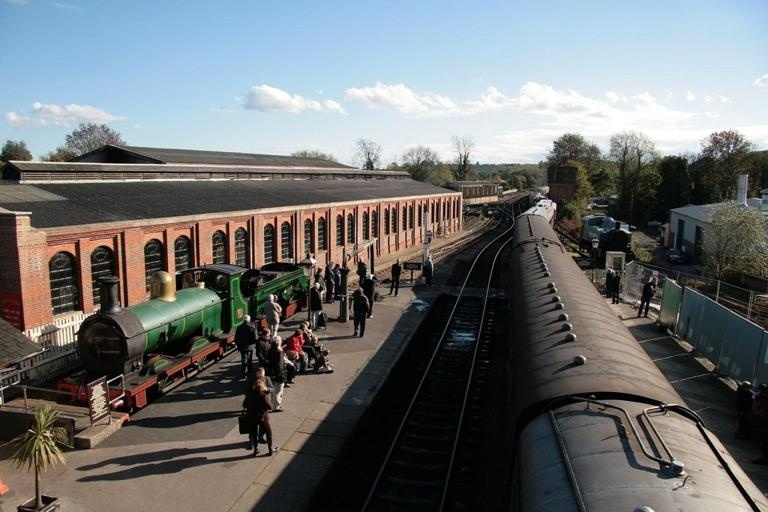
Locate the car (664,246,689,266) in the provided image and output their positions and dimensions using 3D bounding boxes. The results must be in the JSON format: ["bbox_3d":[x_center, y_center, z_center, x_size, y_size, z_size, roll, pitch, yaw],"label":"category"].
[{"bbox_3d":[28.942,0.267,49.293,1.186,0.906,2.900,-1,4,9],"label":"car"}]

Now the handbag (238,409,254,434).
[{"bbox_3d":[-3.412,4.171,11.994,0.215,0.647,0.275,-10,18,-38],"label":"handbag"}]

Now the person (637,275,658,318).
[{"bbox_3d":[13.199,2.213,24.827,0.776,0.700,2.171,4,-31,18],"label":"person"}]

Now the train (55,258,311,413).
[{"bbox_3d":[-6.672,1.967,18.552,3.032,3.487,10.738,0,4,17],"label":"train"}]
